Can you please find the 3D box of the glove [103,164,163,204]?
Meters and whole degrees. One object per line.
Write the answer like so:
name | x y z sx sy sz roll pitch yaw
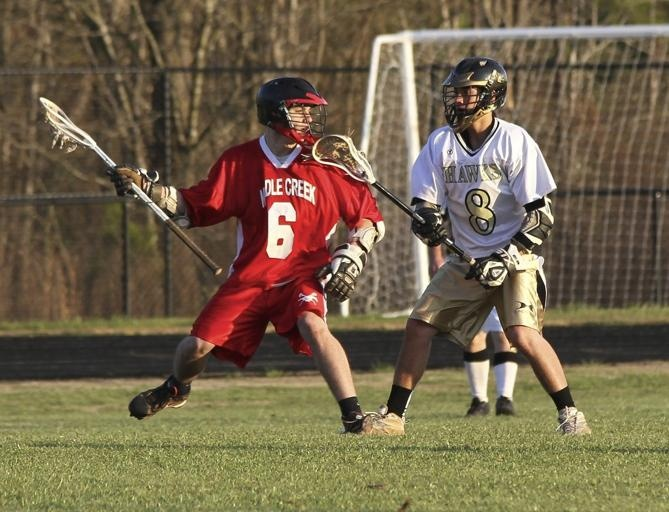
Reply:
glove | -1.638 -0.621 12.268 0.442 0.201 0.505 2 -10 -26

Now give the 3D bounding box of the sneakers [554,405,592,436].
sneakers | 1.889 1.343 12.167 0.296 0.173 0.169 -2 -6 -1

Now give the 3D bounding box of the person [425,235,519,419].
person | 1.332 0.517 13.593 0.722 1.828 0.540 0 -3 -10

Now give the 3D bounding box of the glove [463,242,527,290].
glove | 1.267 0.089 12.157 0.285 0.424 0.194 43 -9 34

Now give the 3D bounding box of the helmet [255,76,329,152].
helmet | -0.384 -1.194 12.545 0.636 0.535 0.506 4 8 34

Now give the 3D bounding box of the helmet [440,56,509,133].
helmet | 1.170 -1.343 12.594 0.636 0.546 0.471 -4 6 -34

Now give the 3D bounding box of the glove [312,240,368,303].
glove | 0.038 0.138 12.237 0.403 0.452 0.233 14 -1 -29

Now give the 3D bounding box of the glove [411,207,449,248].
glove | 0.776 -0.263 12.385 0.175 0.350 0.250 -34 -24 -11
